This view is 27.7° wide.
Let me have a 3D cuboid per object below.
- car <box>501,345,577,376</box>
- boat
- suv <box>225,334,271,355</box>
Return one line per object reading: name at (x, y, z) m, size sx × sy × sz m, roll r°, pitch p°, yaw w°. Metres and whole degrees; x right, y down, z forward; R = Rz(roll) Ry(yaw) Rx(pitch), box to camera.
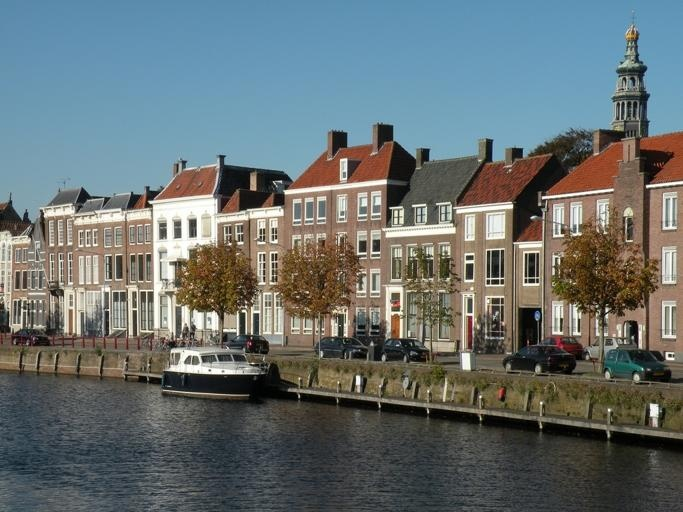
car at (13.638, 7.412, 95.673) m, size 2.063 × 1.598 × 4.636 m, roll 3°, pitch -2°, yaw -35°
boat at (-9.276, 8.966, 102.589) m, size 8.007 × 3.399 × 2.785 m, roll 0°, pitch -3°, yaw -2°
suv at (-7.606, 7.381, 114.565) m, size 2.723 × 1.139 × 1.603 m, roll 6°, pitch 3°, yaw 38°
